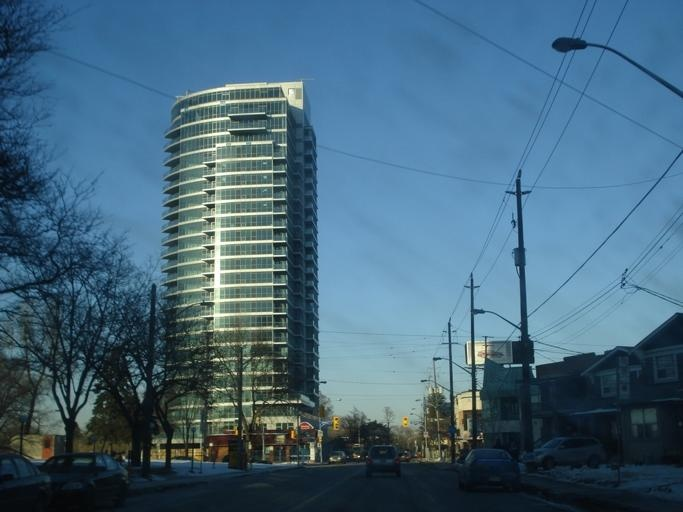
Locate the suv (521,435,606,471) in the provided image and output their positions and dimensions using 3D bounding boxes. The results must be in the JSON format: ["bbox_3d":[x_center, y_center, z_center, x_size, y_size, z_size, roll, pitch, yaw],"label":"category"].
[{"bbox_3d":[14.234,12.672,63.144,4.436,1.954,2.037,3,-11,-12],"label":"suv"}]
